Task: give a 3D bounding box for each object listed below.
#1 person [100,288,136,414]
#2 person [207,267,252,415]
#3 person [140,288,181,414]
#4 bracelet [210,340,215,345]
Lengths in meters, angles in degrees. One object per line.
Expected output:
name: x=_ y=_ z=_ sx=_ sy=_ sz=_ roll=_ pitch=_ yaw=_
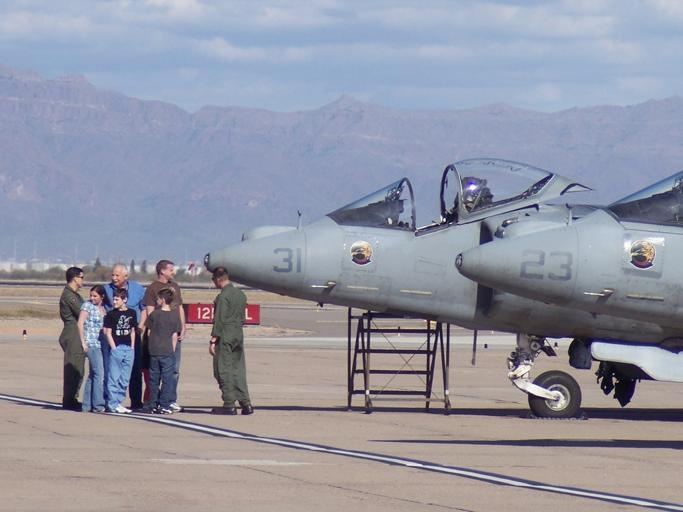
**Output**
person: x=-4.049 y=1.726 z=23.849 sx=0.595 sy=2.201 sz=0.518 roll=2 pitch=2 yaw=-15
person: x=-1.996 y=1.536 z=24.098 sx=0.826 sy=2.644 sz=1.087 roll=2 pitch=2 yaw=-4
person: x=-3.257 y=1.723 z=23.908 sx=0.658 sy=2.262 sz=0.498 roll=1 pitch=2 yaw=-21
bracelet: x=-2.345 y=1.562 z=23.676 sx=0.076 sy=0.049 sz=0.072 roll=2 pitch=4 yaw=8
